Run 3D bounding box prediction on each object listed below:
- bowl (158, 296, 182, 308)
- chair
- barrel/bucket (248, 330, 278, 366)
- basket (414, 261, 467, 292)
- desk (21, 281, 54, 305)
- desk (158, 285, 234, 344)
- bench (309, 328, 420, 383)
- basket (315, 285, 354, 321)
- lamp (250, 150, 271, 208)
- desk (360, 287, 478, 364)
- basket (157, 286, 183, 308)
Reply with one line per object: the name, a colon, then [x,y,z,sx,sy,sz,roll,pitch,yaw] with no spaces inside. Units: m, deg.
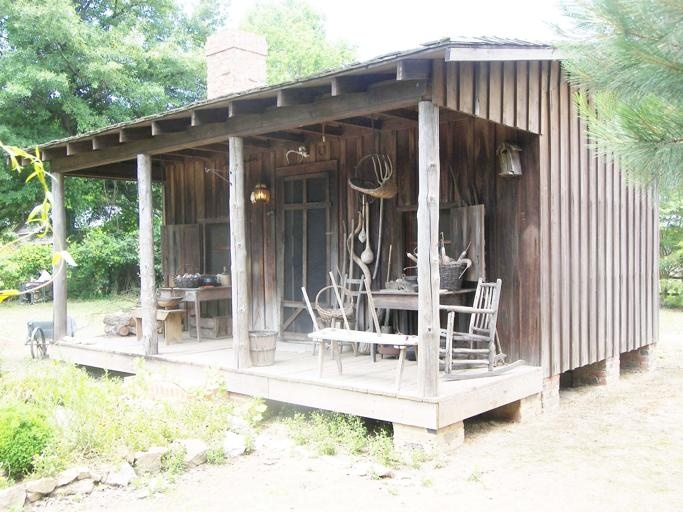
bowl: [-2.491,0.682,9.233,0.317,0.221,0.470,1,5,-20]
chair: [1.328,0.773,7.003,0.790,1.010,0.743,3,-2,-11]
barrel/bucket: [-0.896,1.081,7.463,0.312,0.303,0.358,-1,-3,17]
basket: [1.254,0.241,7.423,0.351,0.262,0.338,1,-3,-29]
desk: [-8.600,1.105,18.118,0.739,0.541,0.796,0,5,-30]
desk: [-2.123,0.991,9.380,0.778,0.853,1.065,2,-3,-43]
bench: [0.266,1.062,6.561,1.180,0.512,0.438,0,0,30]
basket: [-0.126,0.741,8.594,0.612,0.650,0.438,-1,-6,3]
lamp: [-1.237,-1.090,9.477,0.270,0.694,0.502,-2,6,-42]
desk: [0.895,0.778,6.998,0.675,0.503,0.879,2,-3,-45]
basket: [-2.495,0.608,9.201,0.423,0.167,0.247,-1,1,30]
